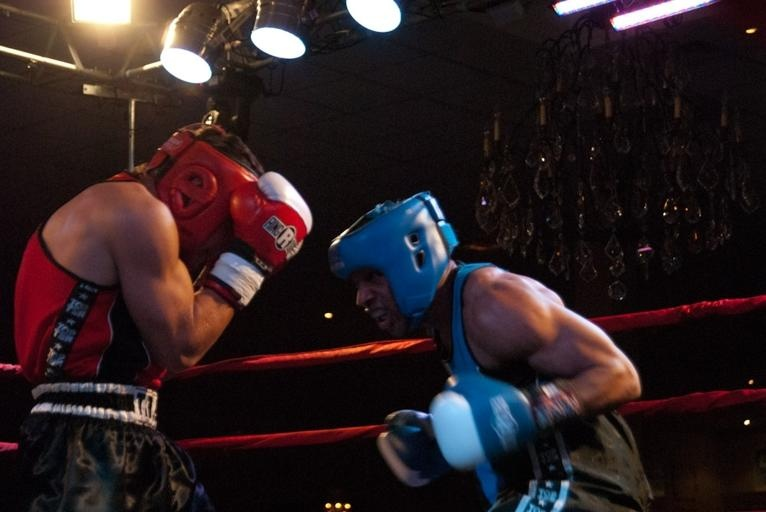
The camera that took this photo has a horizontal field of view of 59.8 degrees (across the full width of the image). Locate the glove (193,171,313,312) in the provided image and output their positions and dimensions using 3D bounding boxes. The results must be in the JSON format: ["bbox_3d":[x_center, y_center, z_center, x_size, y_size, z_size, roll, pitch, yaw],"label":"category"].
[{"bbox_3d":[-0.562,-0.059,3.138,0.453,0.596,0.259,37,-6,4],"label":"glove"}]

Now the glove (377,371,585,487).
[{"bbox_3d":[0.362,0.673,2.658,0.704,0.276,0.541,-16,-12,-26],"label":"glove"}]
